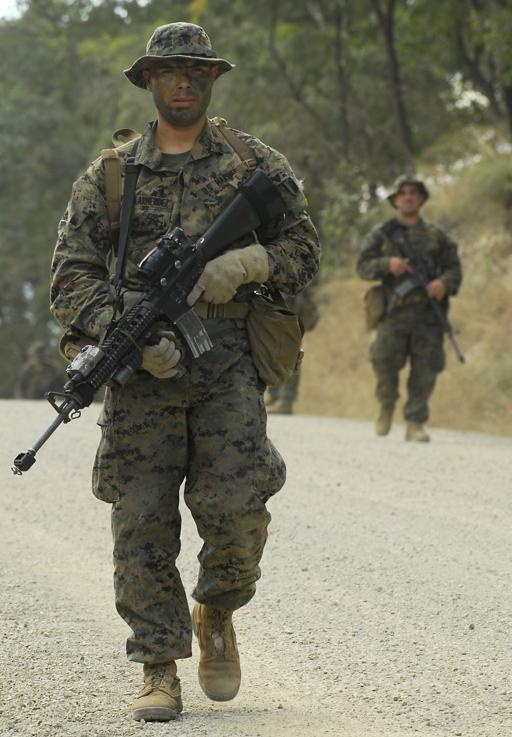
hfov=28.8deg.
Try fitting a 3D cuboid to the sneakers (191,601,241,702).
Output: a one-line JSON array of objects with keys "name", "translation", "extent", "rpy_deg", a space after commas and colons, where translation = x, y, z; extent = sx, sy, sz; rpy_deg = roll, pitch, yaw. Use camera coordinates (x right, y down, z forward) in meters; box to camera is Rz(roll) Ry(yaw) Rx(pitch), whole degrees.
[{"name": "sneakers", "translation": [-0.128, 0.840, 2.956], "extent": [0.113, 0.112, 0.300], "rpy_deg": [-4, 33, -6]}]

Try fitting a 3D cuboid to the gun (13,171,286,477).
[{"name": "gun", "translation": [-0.244, -0.193, 2.728], "extent": [0.837, 0.721, 0.185], "rpy_deg": [-8, 8, -42]}]

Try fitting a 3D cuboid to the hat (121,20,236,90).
[{"name": "hat", "translation": [-0.224, -0.908, 2.902], "extent": [0.285, 0.105, 0.269], "rpy_deg": [-8, -4, -7]}]

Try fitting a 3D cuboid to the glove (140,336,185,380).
[{"name": "glove", "translation": [-0.242, -0.034, 2.716], "extent": [0.128, 0.104, 0.120], "rpy_deg": [-16, 24, -21]}]

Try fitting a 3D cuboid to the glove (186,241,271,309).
[{"name": "glove", "translation": [-0.063, -0.256, 2.840], "extent": [0.245, 0.130, 0.070], "rpy_deg": [-35, -25, -16]}]

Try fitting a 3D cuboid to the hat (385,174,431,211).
[{"name": "hat", "translation": [0.498, -0.571, 3.262], "extent": [0.117, 0.107, 0.064], "rpy_deg": [-1, -8, 6]}]

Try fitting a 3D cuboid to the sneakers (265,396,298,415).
[{"name": "sneakers", "translation": [0.319, 0.477, 12.726], "extent": [0.231, 0.156, 0.294], "rpy_deg": [3, -2, -37]}]

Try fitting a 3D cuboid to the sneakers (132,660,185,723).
[{"name": "sneakers", "translation": [-0.263, 0.891, 2.710], "extent": [0.126, 0.130, 0.214], "rpy_deg": [-3, 5, -4]}]

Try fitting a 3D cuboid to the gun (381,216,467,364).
[{"name": "gun", "translation": [0.548, -0.254, 3.169], "extent": [0.225, 0.499, 0.059], "rpy_deg": [-28, 1, 26]}]
